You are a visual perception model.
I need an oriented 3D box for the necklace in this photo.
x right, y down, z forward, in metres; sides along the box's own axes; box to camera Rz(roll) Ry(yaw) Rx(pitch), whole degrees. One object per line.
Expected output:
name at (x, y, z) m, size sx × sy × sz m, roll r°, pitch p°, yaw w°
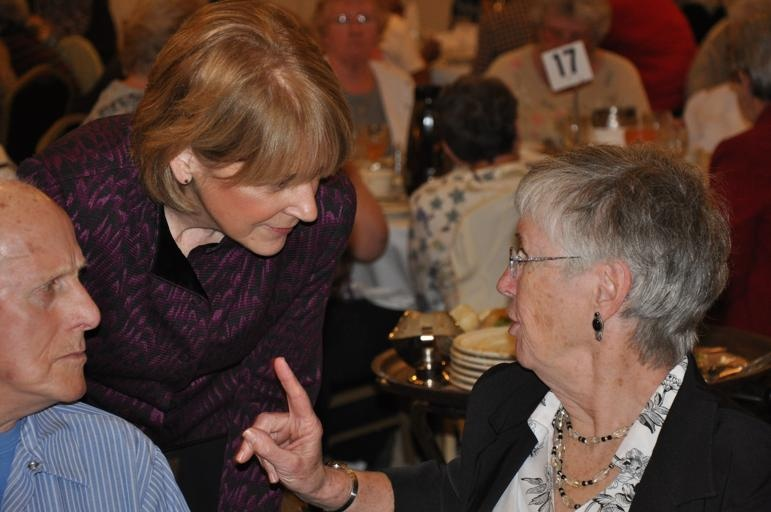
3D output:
necklace at (0.580, 0.633, 2.541) m, size 0.251 × 0.267 × 0.062 m, roll 0°, pitch -11°, yaw 32°
